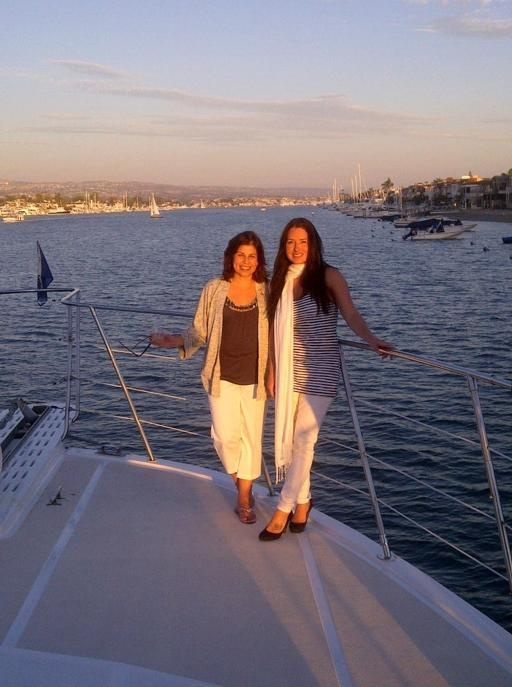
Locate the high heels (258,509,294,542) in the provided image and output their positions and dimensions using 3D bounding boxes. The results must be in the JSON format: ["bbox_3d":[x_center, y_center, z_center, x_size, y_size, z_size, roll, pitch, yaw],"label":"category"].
[{"bbox_3d":[0.114,0.856,2.828,0.078,0.085,0.227,19,43,39],"label":"high heels"}]

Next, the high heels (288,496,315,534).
[{"bbox_3d":[0.227,0.846,2.924,0.069,0.056,0.183,9,57,23],"label":"high heels"}]
